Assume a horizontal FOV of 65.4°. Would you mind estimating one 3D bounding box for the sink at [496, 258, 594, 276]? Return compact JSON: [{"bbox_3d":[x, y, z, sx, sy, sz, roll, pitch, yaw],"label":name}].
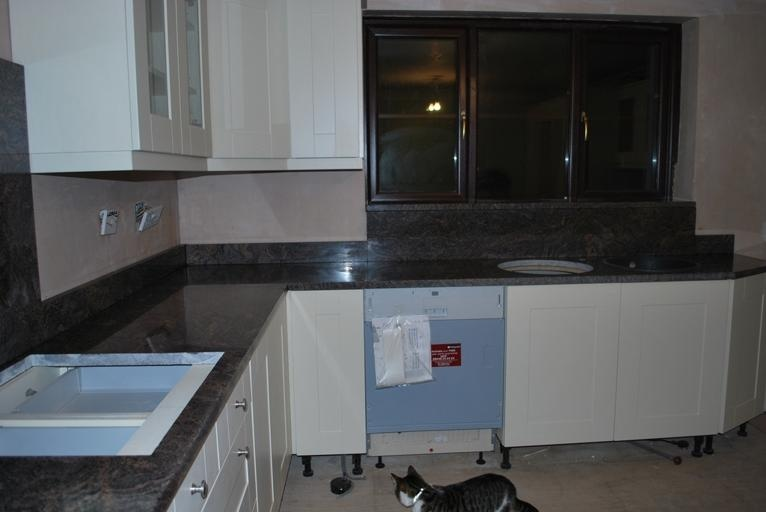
[{"bbox_3d":[0.955,0.077,3.521,0.540,0.084,0.274,1,10,10],"label":"sink"}]
